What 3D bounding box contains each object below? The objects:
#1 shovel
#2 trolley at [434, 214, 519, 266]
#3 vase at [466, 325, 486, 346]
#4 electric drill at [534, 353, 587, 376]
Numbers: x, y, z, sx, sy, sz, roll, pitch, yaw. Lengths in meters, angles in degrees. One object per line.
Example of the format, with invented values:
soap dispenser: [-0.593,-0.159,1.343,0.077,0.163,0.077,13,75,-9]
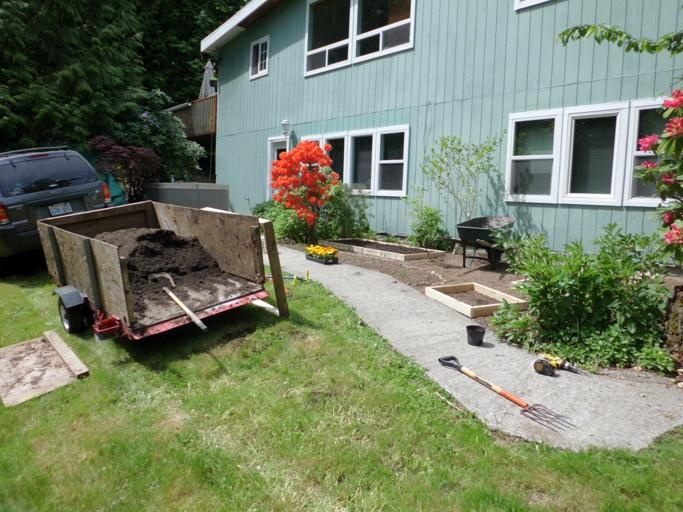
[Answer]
shovel: [-1.917,0.473,5.790,0.387,0.217,1.553,-7,23,-34]
trolley: [2.425,-0.214,8.533,0.789,0.753,0.995,7,22,36]
vase: [1.534,0.912,5.868,0.209,0.180,0.232,-5,9,-44]
electric drill: [2.217,1.145,5.239,0.272,0.099,0.276,25,17,36]
